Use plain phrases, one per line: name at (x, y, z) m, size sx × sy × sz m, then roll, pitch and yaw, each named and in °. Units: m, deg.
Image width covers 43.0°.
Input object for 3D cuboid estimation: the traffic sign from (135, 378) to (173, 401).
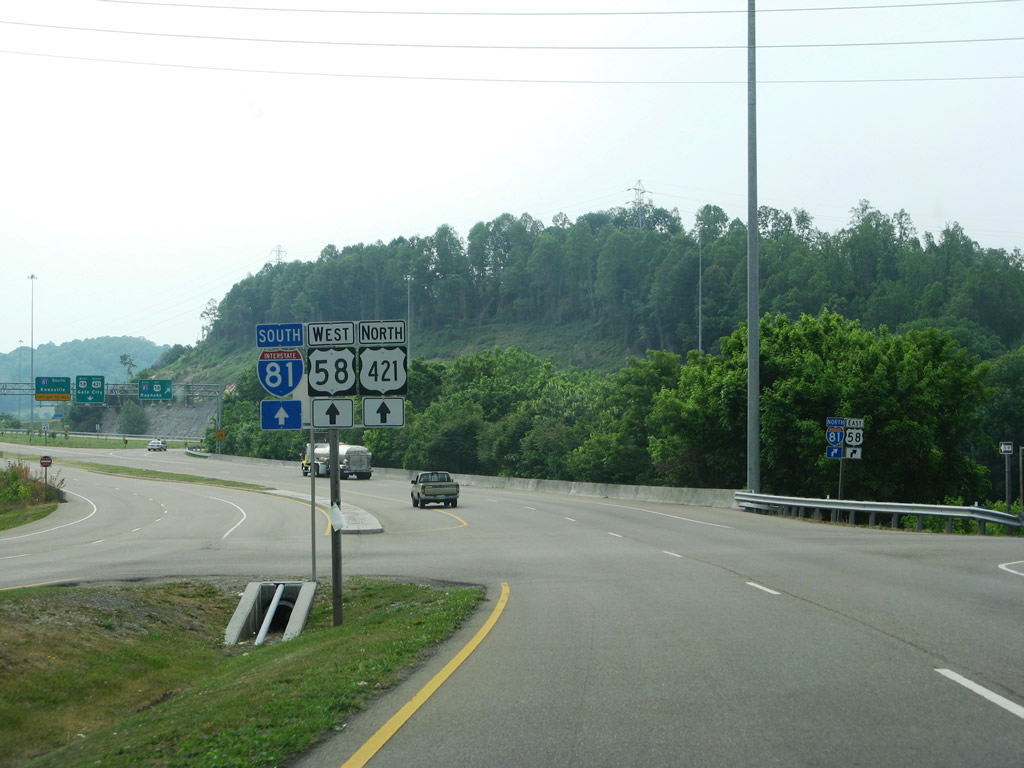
traffic sign at (-30.614, 0.332, 111.767) m, size 2.675 × 1.881 × 2.223 m, roll 6°, pitch -7°, yaw -28°
